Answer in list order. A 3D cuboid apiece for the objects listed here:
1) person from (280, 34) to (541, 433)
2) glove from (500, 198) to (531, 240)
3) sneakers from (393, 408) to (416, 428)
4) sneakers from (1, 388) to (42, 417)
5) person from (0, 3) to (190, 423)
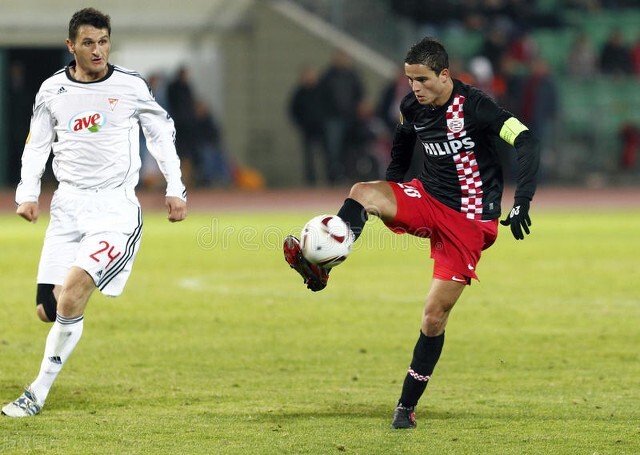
[{"bbox_3d":[0.854,-0.010,7.205,1.498,2.791,1.140,1,9,12],"label":"person"},{"bbox_3d":[1.394,-0.058,6.855,0.199,0.333,0.418,1,9,10],"label":"glove"},{"bbox_3d":[0.613,1.375,7.003,0.178,0.125,0.213,0,9,4],"label":"sneakers"},{"bbox_3d":[-2.183,1.324,7.073,0.148,0.117,0.269,34,18,11],"label":"sneakers"},{"bbox_3d":[-1.733,0.024,7.309,1.344,2.618,0.667,-4,9,-18],"label":"person"}]
